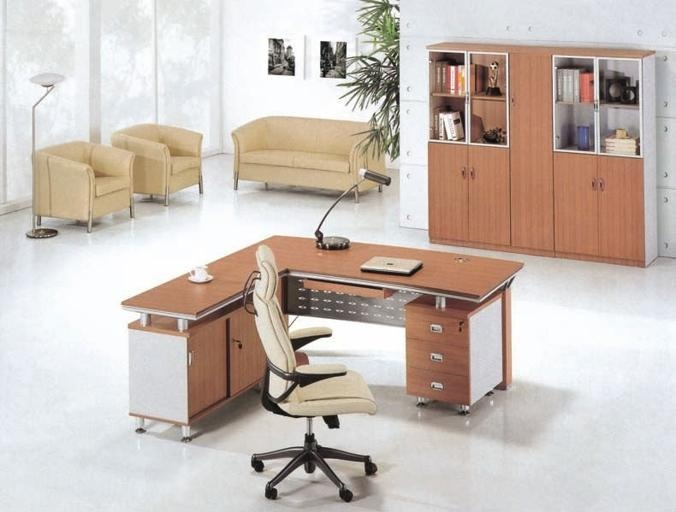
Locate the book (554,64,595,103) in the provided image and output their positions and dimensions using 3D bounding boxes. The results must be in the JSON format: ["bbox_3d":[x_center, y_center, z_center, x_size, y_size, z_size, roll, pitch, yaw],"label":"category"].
[{"bbox_3d":[2.661,-1.934,7.584,0.418,0.382,0.161,4,13,20],"label":"book"}]

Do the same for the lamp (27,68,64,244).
[{"bbox_3d":[-3.919,-1.330,8.974,0.601,2.139,0.477,2,11,-5],"label":"lamp"}]

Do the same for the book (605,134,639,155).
[{"bbox_3d":[3.144,-1.226,7.484,0.360,0.199,0.176,5,13,24],"label":"book"}]

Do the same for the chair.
[{"bbox_3d":[-0.134,0.714,4.112,0.853,1.405,0.828,0,8,-13],"label":"chair"}]

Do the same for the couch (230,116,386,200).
[{"bbox_3d":[-0.515,-1.683,11.069,2.302,1.138,1.055,9,18,22],"label":"couch"}]

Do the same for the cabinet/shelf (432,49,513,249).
[{"bbox_3d":[1.614,-1.356,8.369,1.044,2.380,0.634,1,1,4],"label":"cabinet/shelf"}]

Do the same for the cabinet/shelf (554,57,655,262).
[{"bbox_3d":[2.966,-1.149,7.691,0.995,2.206,0.511,1,7,25],"label":"cabinet/shelf"}]

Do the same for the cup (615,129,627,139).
[{"bbox_3d":[3.160,-1.351,7.492,0.135,0.135,0.105,0,2,42],"label":"cup"}]

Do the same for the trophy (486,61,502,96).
[{"bbox_3d":[1.868,-2.135,8.059,0.148,0.405,0.172,2,12,13],"label":"trophy"}]

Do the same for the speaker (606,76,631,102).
[{"bbox_3d":[3.096,-1.834,7.463,0.270,0.293,0.287,-1,9,9],"label":"speaker"}]

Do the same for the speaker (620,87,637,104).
[{"bbox_3d":[3.188,-1.774,7.398,0.169,0.168,0.174,5,16,22],"label":"speaker"}]

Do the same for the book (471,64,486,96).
[{"bbox_3d":[1.683,-2.137,8.109,0.091,0.368,0.320,10,16,42],"label":"book"}]
